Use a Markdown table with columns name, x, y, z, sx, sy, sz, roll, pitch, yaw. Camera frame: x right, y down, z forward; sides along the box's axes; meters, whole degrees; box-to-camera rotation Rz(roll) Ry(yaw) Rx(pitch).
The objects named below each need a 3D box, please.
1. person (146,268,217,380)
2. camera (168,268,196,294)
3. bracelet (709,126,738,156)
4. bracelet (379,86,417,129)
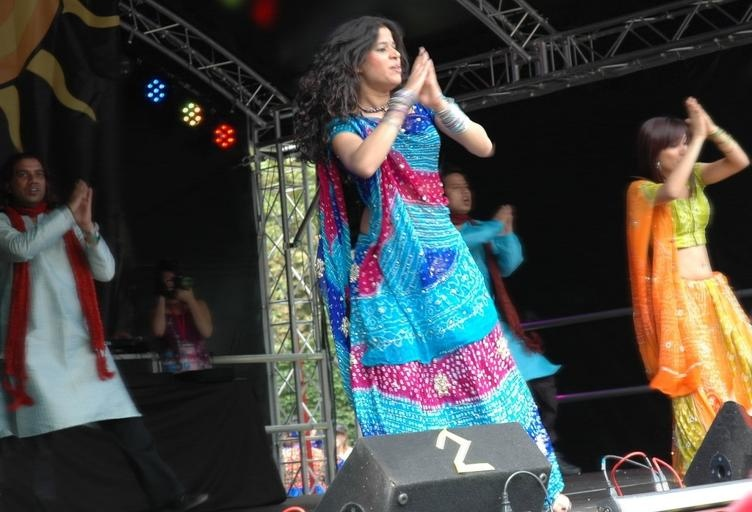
| name | x | y | z | sx | sy | sz | roll | pitch | yaw |
| --- | --- | --- | --- | --- | --- | --- | --- | --- | --- |
| person | -1.300 | 0.493 | 5.093 | 0.318 | 0.917 | 0.286 | 0 | 25 | -9 |
| camera | -1.292 | 0.178 | 5.144 | 0.107 | 0.067 | 0.126 | 9 | 19 | -44 |
| bracelet | 2.513 | -0.823 | 5.577 | 0.088 | 0.238 | 0.190 | -33 | 16 | 39 |
| bracelet | 0.111 | -0.638 | 3.305 | 0.160 | 0.179 | 0.052 | -10 | -9 | -11 |
